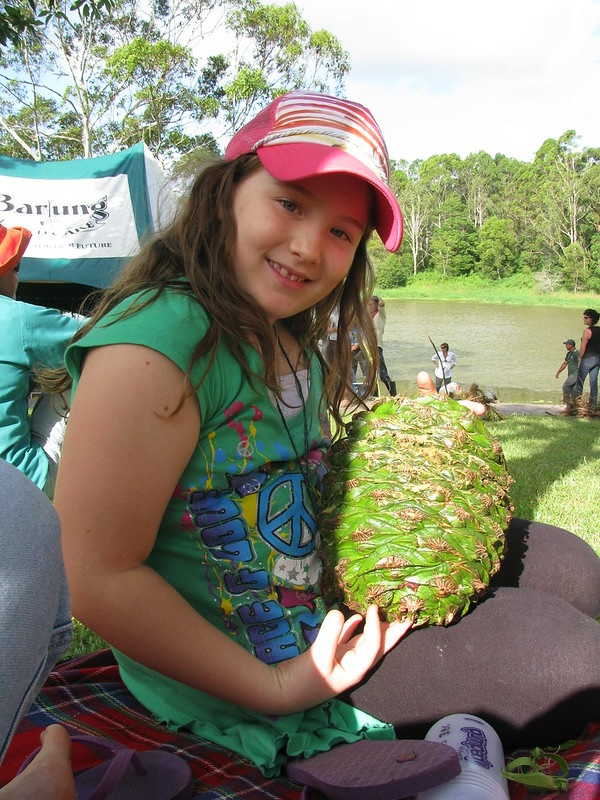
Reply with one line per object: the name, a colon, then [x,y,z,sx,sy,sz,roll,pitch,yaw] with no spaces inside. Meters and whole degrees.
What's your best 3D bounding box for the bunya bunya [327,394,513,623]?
bunya bunya: [0.230,0.233,1.425,0.449,0.206,0.597,6,37,3]
